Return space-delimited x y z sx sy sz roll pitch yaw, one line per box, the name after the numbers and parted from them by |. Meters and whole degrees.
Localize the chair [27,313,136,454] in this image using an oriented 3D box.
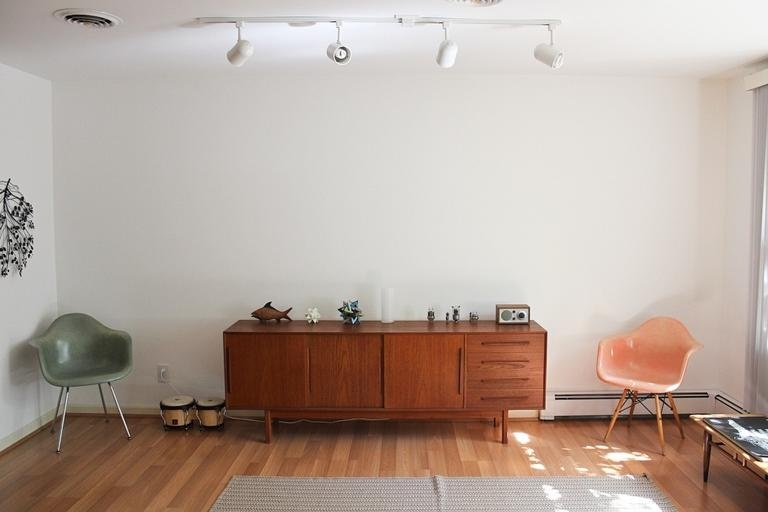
-2.787 0.881 5.136 0.817 0.665 0.644 -1 1 -22 | chair

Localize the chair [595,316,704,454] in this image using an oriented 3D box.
2.422 1.129 5.043 0.840 1.005 0.849 -4 4 -45 | chair

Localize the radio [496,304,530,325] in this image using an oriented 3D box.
1.191 0.543 5.031 0.280 0.149 0.186 0 -2 4 | radio

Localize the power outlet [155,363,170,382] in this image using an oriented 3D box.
-2.172 1.160 5.454 0.126 0.196 0.022 0 2 10 | power outlet
